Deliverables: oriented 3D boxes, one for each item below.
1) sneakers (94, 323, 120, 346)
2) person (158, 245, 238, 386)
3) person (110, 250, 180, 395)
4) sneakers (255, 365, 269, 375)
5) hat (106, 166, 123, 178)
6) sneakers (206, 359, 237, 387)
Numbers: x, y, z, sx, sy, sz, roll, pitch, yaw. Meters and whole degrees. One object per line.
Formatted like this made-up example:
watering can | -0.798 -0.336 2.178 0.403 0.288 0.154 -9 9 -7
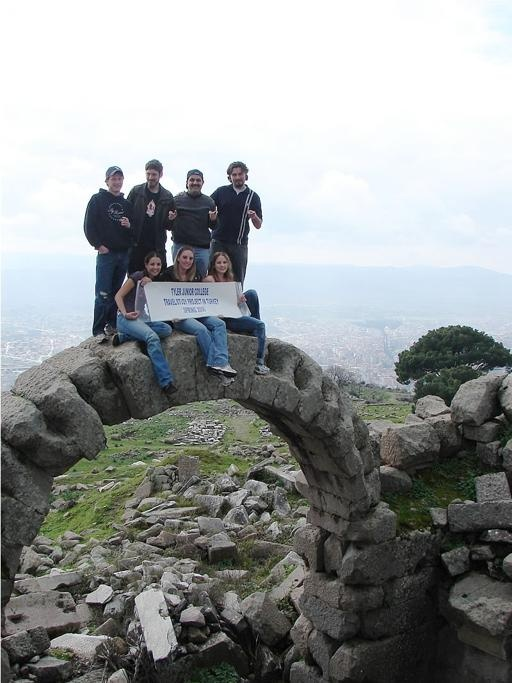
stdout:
sneakers | -1.464 -0.086 4.517 0.153 0.180 0.460 20 -24 -24
person | -0.596 -0.348 4.602 0.726 1.254 1.195 -9 19 -33
person | -1.080 -0.226 4.320 0.527 1.385 0.758 0 7 -13
sneakers | 0.014 0.312 4.899 0.072 0.080 0.193 3 -2 -26
hat | -1.489 -1.918 4.756 0.140 0.123 0.210 -1 7 -17
sneakers | -0.333 0.313 4.303 0.333 0.146 0.151 43 9 -33
